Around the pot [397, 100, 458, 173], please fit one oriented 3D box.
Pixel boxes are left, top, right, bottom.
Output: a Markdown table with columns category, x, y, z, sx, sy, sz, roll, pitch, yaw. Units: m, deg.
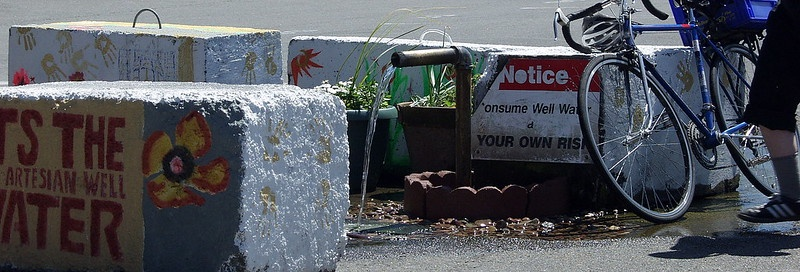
| category | x | y | z | sx | sy | sz | roll | pitch | yaw |
| --- | --- | --- | --- | --- | --- | --- | --- | --- | --- |
| pot | 0.580 | 0.083 | 19.062 | 1.453 | 0.881 | 1.217 | 0 | -3 | -9 |

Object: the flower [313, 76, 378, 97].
| category | x | y | z | sx | sy | sz | roll | pitch | yaw |
| --- | --- | --- | --- | --- | --- | --- | --- | --- | --- |
| flower | -0.895 | -0.869 | 19.147 | 1.005 | 0.231 | 0.954 | -1 | 5 | -1 |

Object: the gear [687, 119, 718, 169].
| category | x | y | z | sx | sy | sz | roll | pitch | yaw |
| --- | --- | --- | --- | --- | --- | --- | --- | --- | --- |
| gear | 5.103 | 0.084 | 18.322 | 0.231 | 0.950 | 0.914 | -25 | 31 | 32 |

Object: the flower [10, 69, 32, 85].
| category | x | y | z | sx | sy | sz | roll | pitch | yaw |
| --- | --- | --- | --- | --- | --- | --- | --- | --- | --- |
| flower | -6.775 | -1.083 | 19.326 | 0.403 | 0.281 | 0.131 | 1 | 7 | 26 |

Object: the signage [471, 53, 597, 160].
| category | x | y | z | sx | sy | sz | roll | pitch | yaw |
| --- | --- | --- | --- | --- | --- | --- | --- | --- | --- |
| signage | 1.719 | -0.476 | 18.599 | 3.013 | 1.905 | 1.609 | 1 | 1 | -37 |
